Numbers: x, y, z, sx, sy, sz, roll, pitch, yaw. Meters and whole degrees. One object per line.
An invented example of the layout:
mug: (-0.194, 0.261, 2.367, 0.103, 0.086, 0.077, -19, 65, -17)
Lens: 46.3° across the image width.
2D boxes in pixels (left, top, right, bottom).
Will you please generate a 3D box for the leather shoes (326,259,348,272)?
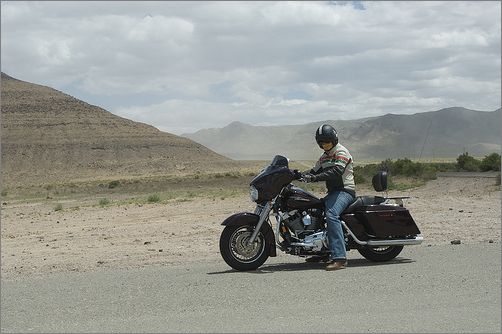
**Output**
leather shoes: (1.965, 2.230, 13.409, 0.573, 0.219, 0.197, -4, 0, -23)
